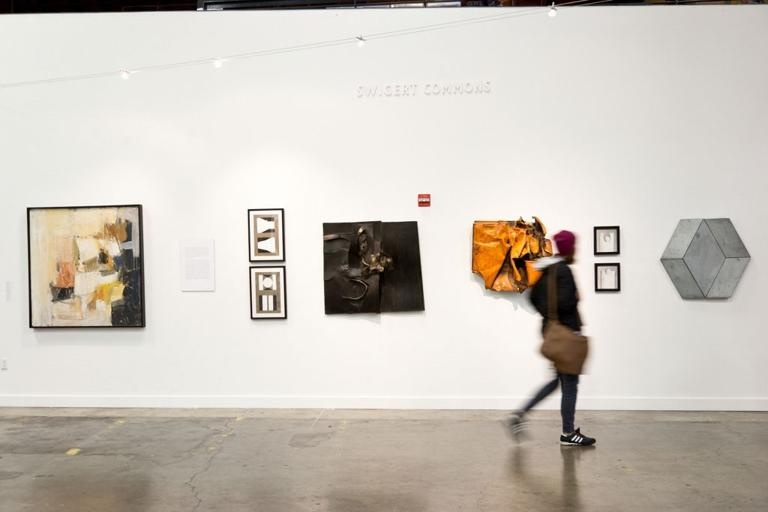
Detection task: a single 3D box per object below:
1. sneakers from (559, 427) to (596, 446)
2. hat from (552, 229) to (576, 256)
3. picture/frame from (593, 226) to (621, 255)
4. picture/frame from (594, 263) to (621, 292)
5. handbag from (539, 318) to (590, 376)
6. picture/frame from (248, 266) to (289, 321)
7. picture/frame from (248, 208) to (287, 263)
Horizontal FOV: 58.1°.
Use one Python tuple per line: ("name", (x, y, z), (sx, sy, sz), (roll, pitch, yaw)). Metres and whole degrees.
("sneakers", (2.175, 2.061, 7.919), (0.441, 0.217, 0.165), (1, -2, -3))
("hat", (1.976, -0.144, 7.687), (0.257, 0.215, 0.238), (-5, -7, 32))
("picture/frame", (2.832, -0.193, 8.754), (0.358, 0.416, 0.030), (0, 1, 2))
("picture/frame", (2.841, 0.278, 8.749), (0.359, 0.412, 0.032), (0, -1, 5))
("handbag", (2.021, 1.019, 7.735), (0.609, 0.599, 0.461), (-12, 15, -5))
("picture/frame", (-1.472, 0.485, 8.905), (0.675, 0.962, 0.093), (0, -1, 2))
("picture/frame", (-1.487, -0.263, 8.911), (0.683, 0.965, 0.035), (0, -1, 1))
